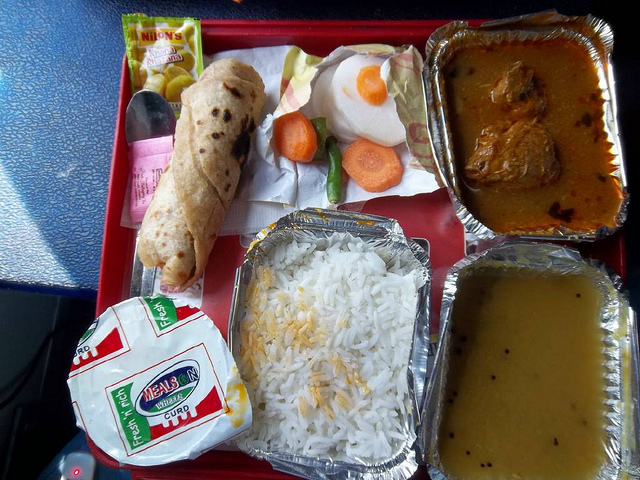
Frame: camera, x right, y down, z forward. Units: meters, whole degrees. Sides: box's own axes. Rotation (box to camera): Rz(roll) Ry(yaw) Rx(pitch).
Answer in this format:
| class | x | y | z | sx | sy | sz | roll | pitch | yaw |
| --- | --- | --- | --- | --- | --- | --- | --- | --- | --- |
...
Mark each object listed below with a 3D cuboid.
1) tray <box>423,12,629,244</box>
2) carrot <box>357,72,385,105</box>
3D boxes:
| class | x | y | z | sx | sy | sz | roll | pitch | yaw |
| --- | --- | --- | --- | --- | --- | --- | --- | --- | --- |
| tray | 1.022 | -0.558 | 2.754 | 0.966 | 0.145 | 1.175 | -3 | 79 | -1 |
| carrot | 0.262 | -0.794 | 2.911 | 0.132 | 0.051 | 0.160 | -5 | 99 | 6 |
